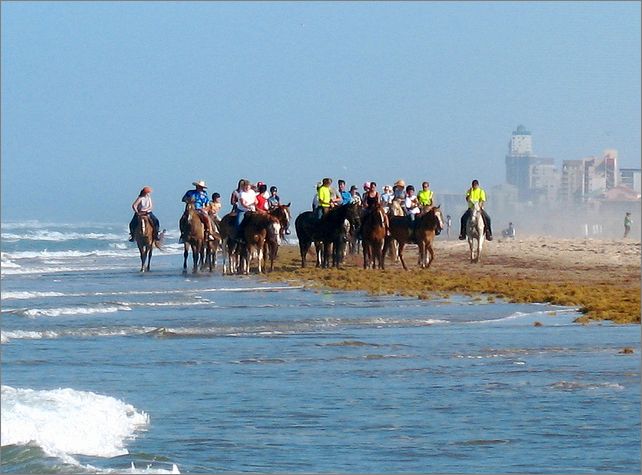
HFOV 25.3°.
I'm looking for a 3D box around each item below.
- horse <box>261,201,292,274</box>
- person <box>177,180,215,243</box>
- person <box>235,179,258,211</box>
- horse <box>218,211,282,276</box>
[{"bbox_3d":[-1.359,-0.144,38.477,1.020,2.891,0.916,-2,3,0],"label":"horse"},{"bbox_3d":[-3.518,-0.813,40.706,0.932,1.744,1.379,-2,-2,12],"label":"person"},{"bbox_3d":[-2.068,-1.248,39.269,0.561,0.732,1.591,0,8,-4],"label":"person"},{"bbox_3d":[-1.629,0.011,39.318,0.880,1.720,3.121,-1,0,-26],"label":"horse"}]
